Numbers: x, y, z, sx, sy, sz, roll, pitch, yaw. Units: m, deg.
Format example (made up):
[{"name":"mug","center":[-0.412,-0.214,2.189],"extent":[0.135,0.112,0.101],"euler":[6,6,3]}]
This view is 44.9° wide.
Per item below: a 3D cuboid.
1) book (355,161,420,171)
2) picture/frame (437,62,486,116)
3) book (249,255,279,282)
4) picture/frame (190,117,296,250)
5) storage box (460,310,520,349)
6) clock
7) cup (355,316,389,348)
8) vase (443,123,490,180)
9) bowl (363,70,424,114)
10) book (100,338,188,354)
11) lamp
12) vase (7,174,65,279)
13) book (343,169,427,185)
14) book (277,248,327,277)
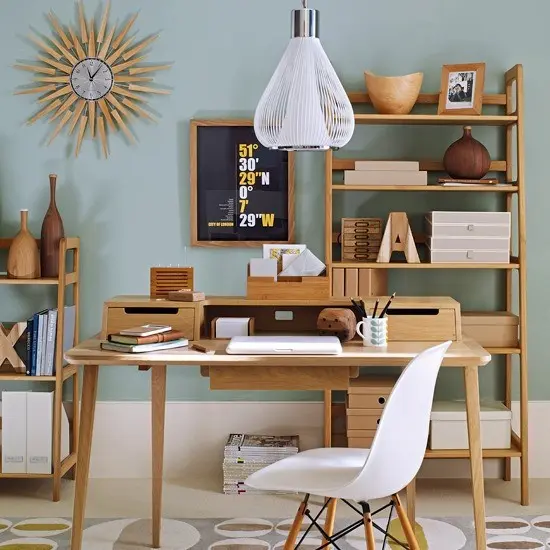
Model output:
[{"name":"book","center":[0.499,-0.491,2.991],"extent":[0.279,0.058,0.091],"euler":[1,1,5]},{"name":"picture/frame","center":[0.835,-0.827,2.968],"extent":[0.277,0.349,0.024],"euler":[3,-17,15]},{"name":"book","center":[-0.051,-0.023,2.717],"extent":[0.118,0.092,0.077],"euler":[1,1,-3]},{"name":"picture/frame","center":[-0.147,-0.440,3.056],"extent":[0.616,0.781,0.037],"euler":[-1,2,-3]},{"name":"storage box","center":[0.974,0.230,3.006],"extent":[0.183,0.115,0.188],"euler":[0,2,6]},{"name":"clock","center":[-0.884,-0.957,3.154],"extent":[0.683,0.720,0.060],"euler":[0,1,-2]},{"name":"cup","center":[0.357,0.206,2.443],"extent":[0.122,0.097,0.078],"euler":[-1,3,-7]},{"name":"vase","center":[0.855,-0.543,2.971],"extent":[0.221,0.248,0.226],"euler":[0,6,2]},{"name":"bowl","center":[0.551,-0.836,3.019],"extent":[0.268,0.203,0.275],"euler":[3,14,-1]},{"name":"book","center":[-0.453,0.248,2.327],"extent":[0.302,0.035,0.128],"euler":[0,1,-17]},{"name":"lamp","center":[0.093,-0.615,2.092],"extent":[0.306,0.410,0.113],"euler":[1,2,6]},{"name":"vase","center":[-1.091,-0.226,3.056],"extent":[0.254,0.485,0.285],"euler":[0,2,-11]},{"name":"book","center":[0.492,-0.434,2.968],"extent":[0.361,0.069,0.026],"euler":[1,2,0]},{"name":"book","center":[0.111,-0.051,2.727],"extent":[0.187,0.116,0.129],"euler":[1,1,1]}]
